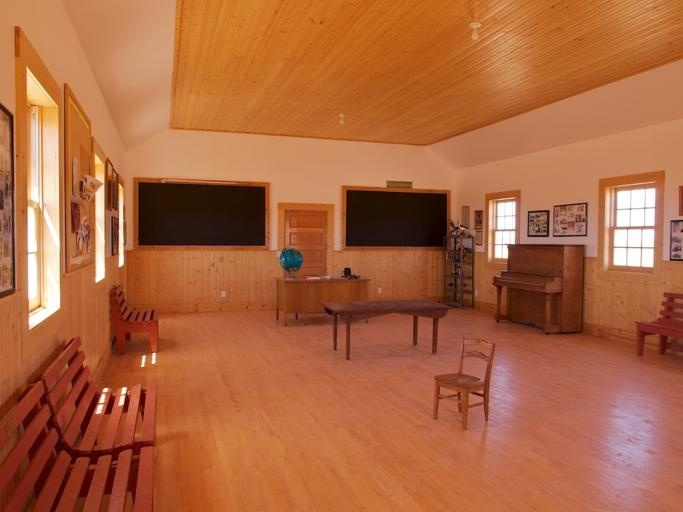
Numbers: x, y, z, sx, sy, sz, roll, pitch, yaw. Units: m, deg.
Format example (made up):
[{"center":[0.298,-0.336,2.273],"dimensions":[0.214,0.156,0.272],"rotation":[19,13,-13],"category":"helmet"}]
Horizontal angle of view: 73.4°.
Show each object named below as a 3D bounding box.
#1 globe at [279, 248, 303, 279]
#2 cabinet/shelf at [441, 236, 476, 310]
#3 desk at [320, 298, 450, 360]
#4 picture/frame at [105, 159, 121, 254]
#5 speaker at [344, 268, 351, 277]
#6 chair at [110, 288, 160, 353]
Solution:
[{"center":[-1.021,0.115,9.274],"dimensions":[0.537,0.677,0.557],"rotation":[0,1,-7],"category":"globe"},{"center":[2.857,0.307,11.372],"dimensions":[0.503,1.788,0.962],"rotation":[0,4,-23],"category":"cabinet/shelf"},{"center":[0.613,1.053,6.932],"dimensions":[1.705,0.752,1.042],"rotation":[0,4,-21],"category":"desk"},{"center":[-3.388,-0.692,6.778],"dimensions":[0.030,1.364,1.655],"rotation":[0,4,-21],"category":"picture/frame"},{"center":[0.141,0.307,9.351],"dimensions":[0.122,0.163,0.154],"rotation":[-1,1,-7],"category":"speaker"},{"center":[-3.379,1.046,7.446],"dimensions":[0.421,0.616,0.885],"rotation":[-1,4,-11],"category":"chair"}]
